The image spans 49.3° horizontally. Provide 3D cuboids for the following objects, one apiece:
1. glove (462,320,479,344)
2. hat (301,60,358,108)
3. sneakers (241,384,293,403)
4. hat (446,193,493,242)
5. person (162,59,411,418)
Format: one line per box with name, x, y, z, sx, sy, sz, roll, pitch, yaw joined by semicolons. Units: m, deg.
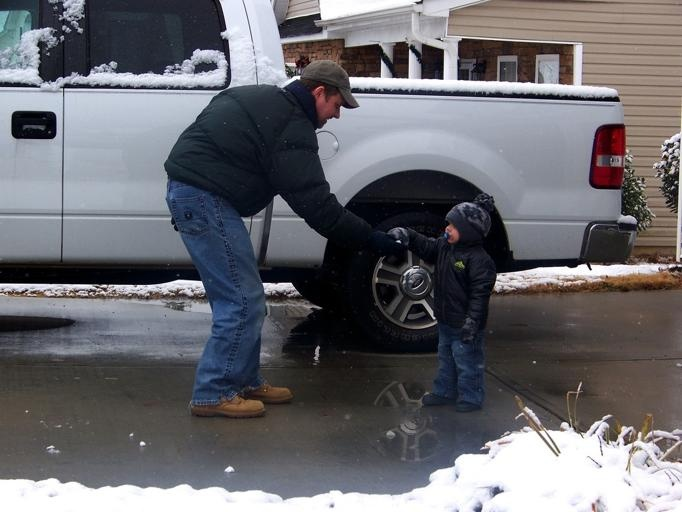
glove;0.795;0.456;4.500;0.093;0.132;0.131;2;-17;5
hat;-0.025;-1.036;4.466;0.378;0.210;0.246;21;-3;2
sneakers;-0.464;0.853;4.682;0.306;0.139;0.119;-2;15;-8
hat;0.830;-0.244;4.643;0.304;0.345;0.250;5;6;-2
person;-0.458;-0.092;4.407;1.131;2.114;0.415;-1;7;-11
